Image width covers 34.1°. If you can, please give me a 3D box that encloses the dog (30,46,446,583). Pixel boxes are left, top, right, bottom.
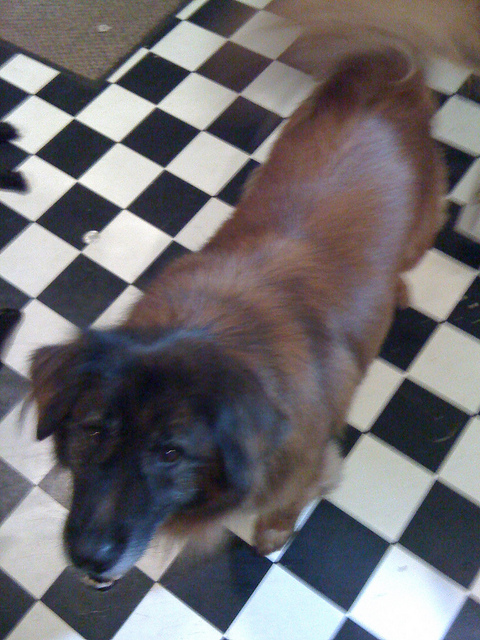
[{"bbox_3d":[0.023,0.026,2.672,0.791,1.010,1.884,30,75,13],"label":"dog"}]

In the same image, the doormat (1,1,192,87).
[{"bbox_3d":[-0.743,-1.339,3.683,0.837,0.153,0.578,6,50,5],"label":"doormat"}]
